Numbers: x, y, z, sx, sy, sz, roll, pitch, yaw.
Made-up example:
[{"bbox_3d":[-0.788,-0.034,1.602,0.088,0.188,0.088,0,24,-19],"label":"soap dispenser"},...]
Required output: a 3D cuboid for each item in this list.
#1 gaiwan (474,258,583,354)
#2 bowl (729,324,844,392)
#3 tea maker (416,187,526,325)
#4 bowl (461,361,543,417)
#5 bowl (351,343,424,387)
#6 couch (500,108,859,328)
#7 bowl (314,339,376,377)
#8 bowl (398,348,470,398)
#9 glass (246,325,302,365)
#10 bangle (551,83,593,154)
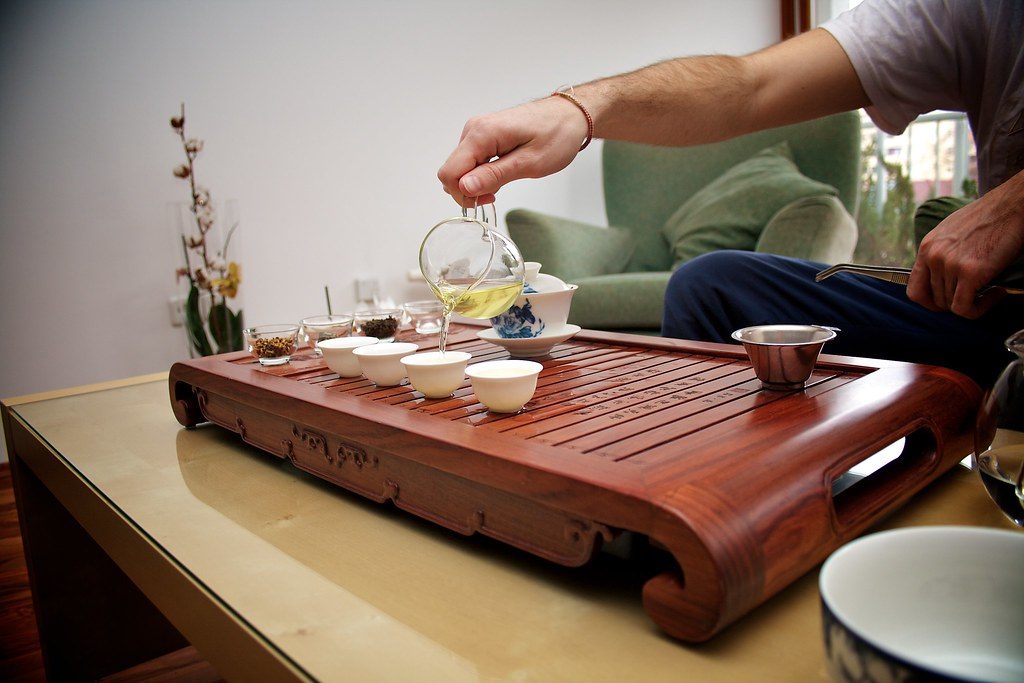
[{"bbox_3d":[0.036,-0.068,1.270,0.181,0.146,0.187,1,7,28],"label":"gaiwan"},{"bbox_3d":[0.435,0.014,1.014,0.118,0.058,0.129,-1,4,0],"label":"bowl"},{"bbox_3d":[-0.063,-0.147,1.087,0.122,0.209,0.148,-5,-19,-3],"label":"tea maker"},{"bbox_3d":[-0.010,0.060,0.987,0.088,0.051,0.089,-1,5,0],"label":"bowl"},{"bbox_3d":[-0.228,0.027,1.142,0.084,0.047,0.088,-4,7,0],"label":"bowl"},{"bbox_3d":[0.759,-0.541,2.593,1.188,1.078,1.013,0,0,41],"label":"couch"},{"bbox_3d":[-0.318,0.015,1.210,0.081,0.043,0.087,-1,8,0],"label":"bowl"},{"bbox_3d":[-0.119,0.043,1.083,0.083,0.052,0.086,-2,6,0],"label":"bowl"},{"bbox_3d":[-0.497,0.003,1.311,0.085,0.060,0.087,0,-1,-1],"label":"glass"},{"bbox_3d":[0.135,-0.476,1.368,0.079,0.134,0.122,-4,13,11],"label":"bangle"}]
